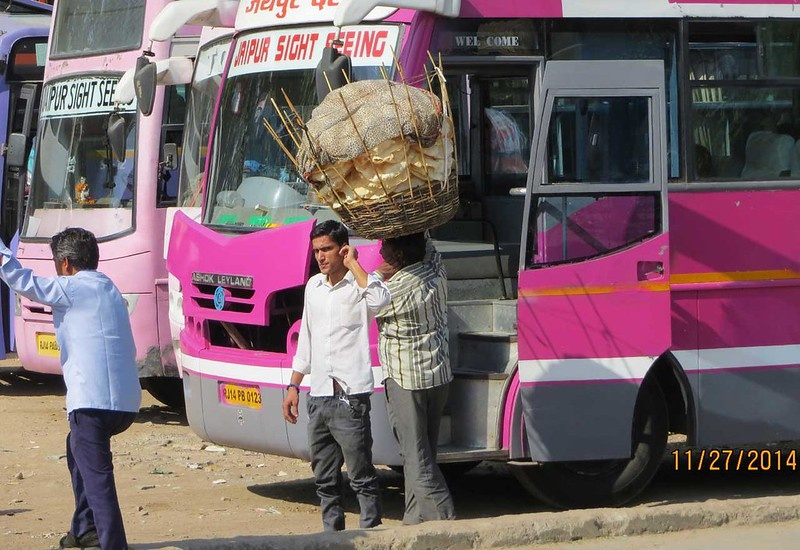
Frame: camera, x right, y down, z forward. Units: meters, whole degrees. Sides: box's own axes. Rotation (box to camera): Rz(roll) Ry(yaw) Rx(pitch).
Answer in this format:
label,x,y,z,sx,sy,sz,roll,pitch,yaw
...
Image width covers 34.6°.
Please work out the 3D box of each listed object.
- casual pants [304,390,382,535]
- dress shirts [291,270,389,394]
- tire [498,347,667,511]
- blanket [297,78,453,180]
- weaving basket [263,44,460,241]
label,x,y,z,sx,sy,sz,roll,pitch,yaw
casual pants,-0.432,1.409,9.777,0.532,1.032,0.347,-2,3,-6
dress shirts,-0.474,0.442,9.798,0.792,0.944,0.255,0,3,26
tire,1.484,1.193,10.502,1.111,1.232,0.364,-7,17,-28
blanket,-0.252,-1.129,9.483,0.777,0.288,0.767,-22,13,12
weaving basket,-0.207,-0.956,10.082,1.348,1.252,1.398,-31,-1,-1
